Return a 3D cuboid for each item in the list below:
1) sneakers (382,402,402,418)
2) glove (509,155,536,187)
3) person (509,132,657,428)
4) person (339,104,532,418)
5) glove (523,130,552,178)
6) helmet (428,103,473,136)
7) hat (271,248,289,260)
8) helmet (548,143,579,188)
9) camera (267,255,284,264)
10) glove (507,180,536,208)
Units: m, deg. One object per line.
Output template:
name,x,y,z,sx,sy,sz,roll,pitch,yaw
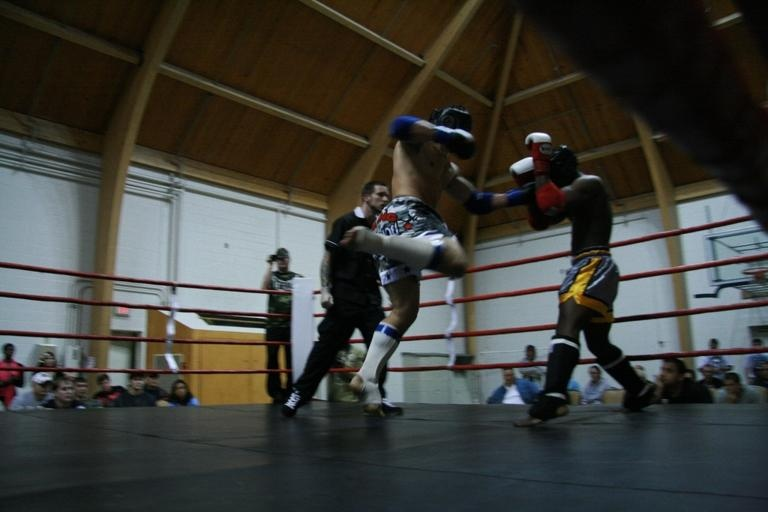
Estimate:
sneakers,0.039,0.847,2.991,0.070,0.046,0.145,-10,0,-13
glove,0.760,-0.455,2.880,0.173,0.157,0.084,-30,41,-19
person,0.983,0.107,2.832,0.954,1.486,0.523,21,-10,-39
person,0.272,-0.097,2.692,1.025,1.529,0.817,-5,-26,15
glove,0.774,-0.514,2.728,0.197,0.211,0.243,3,3,7
helmet,0.349,-0.713,2.728,0.270,0.075,0.179,10,-1,10
hat,-1.444,-0.031,7.453,0.158,0.110,0.171,17,15,41
helmet,0.949,-0.481,2.917,0.203,0.197,0.231,2,-14,0
camera,-1.385,0.023,6.874,0.188,0.068,0.230,-1,-9,-26
glove,0.698,-0.322,2.814,0.148,0.050,0.123,-7,-24,43
